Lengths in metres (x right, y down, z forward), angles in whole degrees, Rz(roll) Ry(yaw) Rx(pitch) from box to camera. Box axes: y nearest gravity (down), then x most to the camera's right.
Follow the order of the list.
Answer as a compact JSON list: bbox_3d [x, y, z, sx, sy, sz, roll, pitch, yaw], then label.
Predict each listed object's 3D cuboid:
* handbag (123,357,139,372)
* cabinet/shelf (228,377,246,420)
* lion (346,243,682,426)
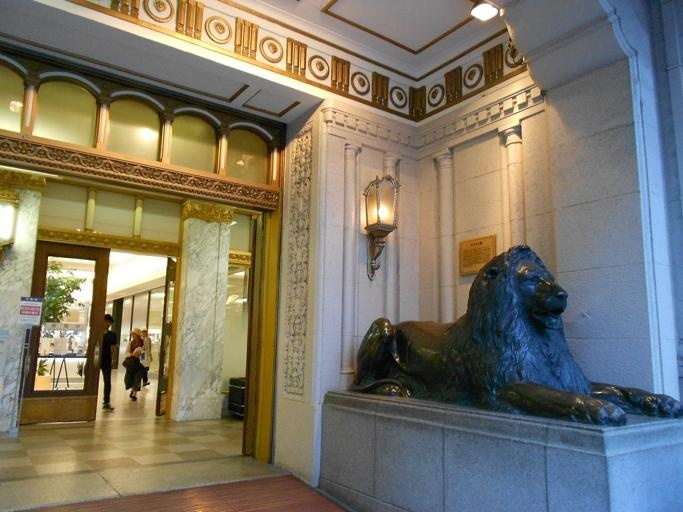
[{"bbox_3d":[-4.365,2.263,10.338,0.335,0.385,0.270,-8,-17,10],"label":"handbag"},{"bbox_3d":[-1.706,2.459,8.622,0.517,0.623,0.526,2,-4,-16],"label":"cabinet/shelf"},{"bbox_3d":[1.327,0.694,4.338,1.171,1.206,2.293,9,-16,-33],"label":"lion"}]
